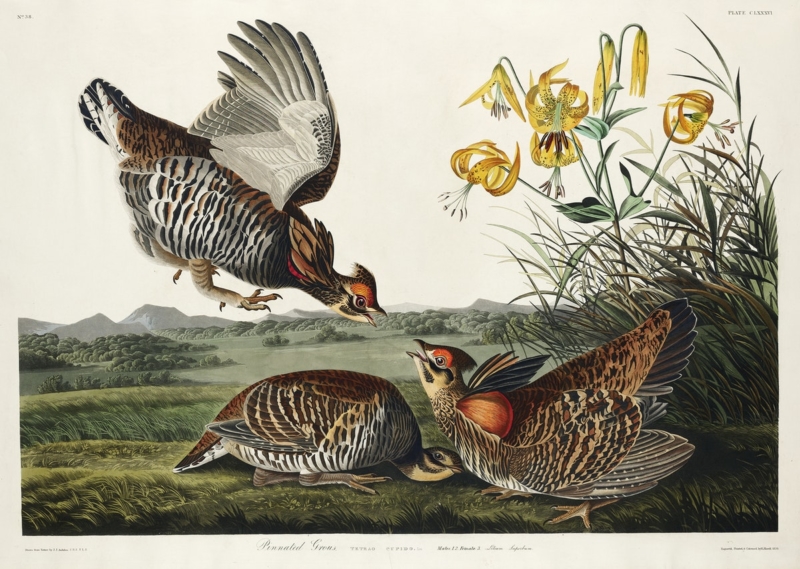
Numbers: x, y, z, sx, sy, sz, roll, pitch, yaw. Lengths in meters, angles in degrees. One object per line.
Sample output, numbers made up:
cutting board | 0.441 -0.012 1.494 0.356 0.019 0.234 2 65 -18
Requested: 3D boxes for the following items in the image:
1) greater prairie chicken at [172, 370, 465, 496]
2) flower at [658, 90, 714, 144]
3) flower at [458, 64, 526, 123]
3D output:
greater prairie chicken | -0.327 0.699 5.206 1.442 0.606 0.513 5 -8 2
flower | 1.412 -0.759 5.194 0.276 0.103 0.290 10 -3 20
flower | 0.445 -0.914 5.127 0.171 0.302 0.270 6 0 8
